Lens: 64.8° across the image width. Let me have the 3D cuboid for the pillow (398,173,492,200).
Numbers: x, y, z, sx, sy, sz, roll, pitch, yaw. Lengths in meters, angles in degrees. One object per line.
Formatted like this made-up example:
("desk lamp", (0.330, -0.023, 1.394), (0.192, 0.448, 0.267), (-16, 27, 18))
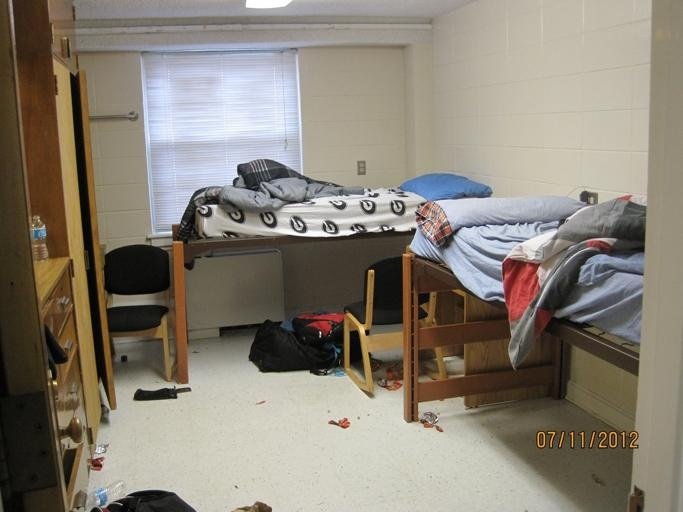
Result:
("pillow", (0.837, -0.523, 4.058), (0.442, 0.130, 0.361), (-3, 7, -13))

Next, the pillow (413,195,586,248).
("pillow", (0.808, -0.224, 2.758), (0.571, 0.148, 0.371), (-3, 6, -11))

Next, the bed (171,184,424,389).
("bed", (-0.389, 0.376, 4.132), (1.634, 0.770, 0.963), (-1, -3, -11))

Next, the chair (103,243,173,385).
("chair", (-1.468, 0.361, 3.913), (0.473, 0.884, 1.003), (-7, 14, -18))

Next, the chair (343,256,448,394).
("chair", (0.338, 0.428, 3.549), (0.517, 0.737, 0.458), (-3, 1, -10))

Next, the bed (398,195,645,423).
("bed", (0.827, 0.274, 2.491), (0.798, 0.750, 1.202), (0, 7, -4))

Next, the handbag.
("handbag", (-0.322, 0.630, 3.823), (0.570, 0.215, 0.453), (-3, 6, -10))
